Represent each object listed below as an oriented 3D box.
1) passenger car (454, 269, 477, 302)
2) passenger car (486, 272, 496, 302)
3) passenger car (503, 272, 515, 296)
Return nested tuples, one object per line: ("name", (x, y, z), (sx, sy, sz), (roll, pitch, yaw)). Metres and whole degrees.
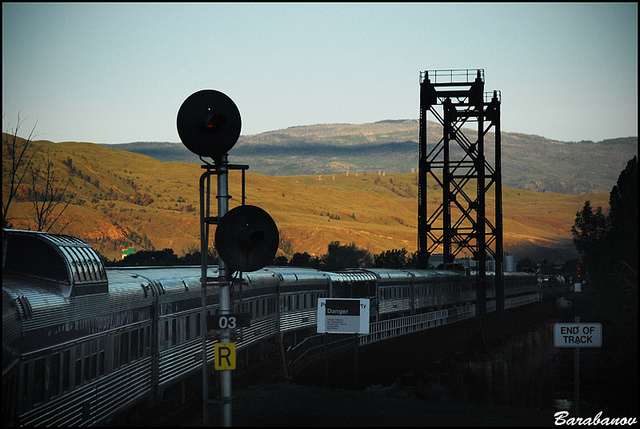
("passenger car", (12.593, 6.181, 59.347), (0.539, 3.061, 5.156), (2, 3, 27))
("passenger car", (13.954, 5.975, 56.352), (1.373, 2.561, 2.635), (0, -4, 16))
("passenger car", (19.087, 7.148, 69.296), (0.929, 2.288, 5.977), (1, 3, 16))
